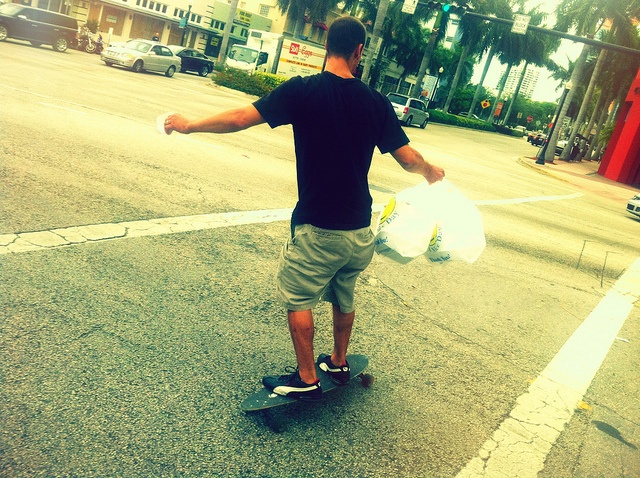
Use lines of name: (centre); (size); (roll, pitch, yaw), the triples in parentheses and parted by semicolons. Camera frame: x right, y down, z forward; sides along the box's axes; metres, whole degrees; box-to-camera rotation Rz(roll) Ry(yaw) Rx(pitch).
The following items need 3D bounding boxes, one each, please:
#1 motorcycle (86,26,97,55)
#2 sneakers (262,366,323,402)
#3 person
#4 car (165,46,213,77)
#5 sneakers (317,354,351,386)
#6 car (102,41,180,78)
motorcycle: (-12.510, -10.936, 31.664); (0.624, 1.143, 1.226); (5, 16, -24)
sneakers: (-0.184, 1.065, 4.313); (0.470, 0.214, 0.183); (10, 5, -2)
person: (-0.023, -0.248, 4.252); (1.435, 2.719, 0.777); (13, 14, 5)
car: (-7.090, -10.292, 32.870); (1.290, 0.994, 3.127); (14, 9, 39)
sneakers: (0.118, 1.036, 4.611); (0.135, 0.152, 0.339); (-10, 32, -38)
car: (-8.085, -8.189, 26.021); (1.605, 1.162, 3.729); (19, 19, 18)
